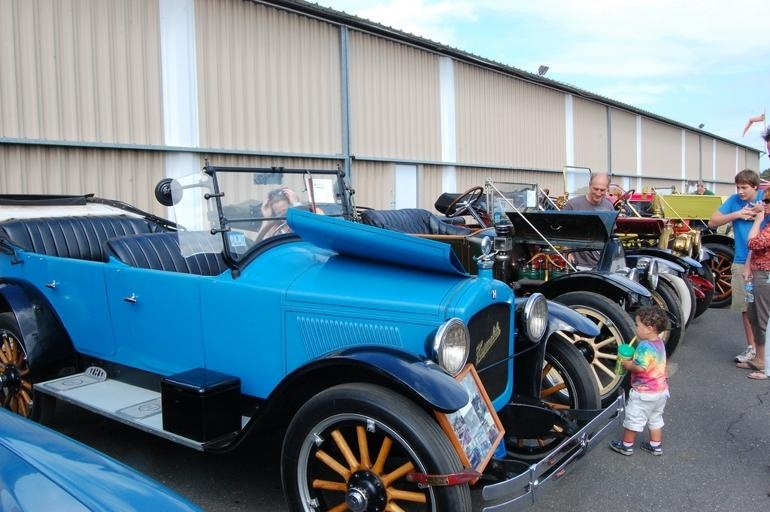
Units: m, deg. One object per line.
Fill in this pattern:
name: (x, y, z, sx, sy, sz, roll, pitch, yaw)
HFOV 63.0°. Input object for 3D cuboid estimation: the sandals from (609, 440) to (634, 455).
sandals: (1.857, 1.498, 4.976, 0.189, 0.094, 0.083, 9, 10, 39)

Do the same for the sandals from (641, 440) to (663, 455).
sandals: (2.100, 1.513, 4.993, 0.078, 0.088, 0.178, -4, 8, -41)

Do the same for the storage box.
storage box: (-1.262, 1.020, 4.340, 0.513, 0.355, 0.392, 6, 10, 41)
